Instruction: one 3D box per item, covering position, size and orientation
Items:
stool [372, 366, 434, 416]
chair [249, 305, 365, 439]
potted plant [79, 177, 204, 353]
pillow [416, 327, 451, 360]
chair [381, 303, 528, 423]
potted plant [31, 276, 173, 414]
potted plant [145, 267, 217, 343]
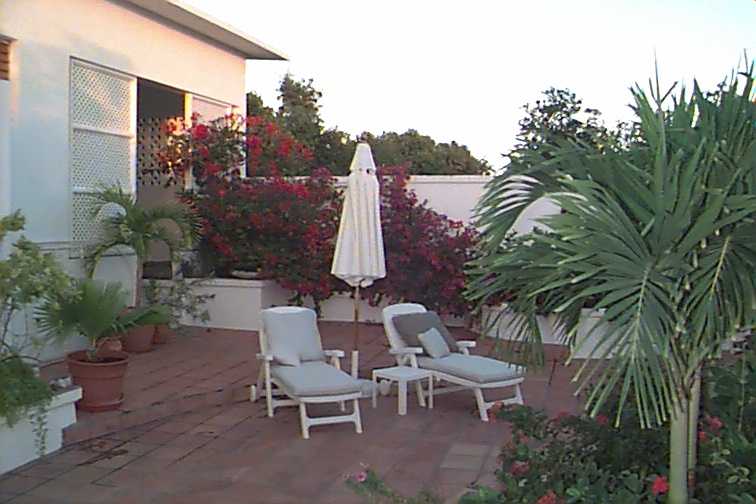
[{"bbox_3d":[0.331,1.691,6.912,0.578,0.476,0.593,0,0,-41],"label":"stool"},{"bbox_3d":[-0.929,1.449,6.716,1.080,1.233,1.673,-3,8,-25],"label":"chair"},{"bbox_3d":[-4.413,-0.370,9.666,1.986,1.717,1.432,3,0,38],"label":"potted plant"},{"bbox_3d":[0.750,1.212,7.203,0.379,0.358,0.116,-15,-26,-47],"label":"pillow"},{"bbox_3d":[0.936,1.368,7.189,1.027,1.244,1.974,-2,0,-35],"label":"chair"},{"bbox_3d":[-3.393,1.014,6.621,1.681,1.477,1.566,0,3,-8],"label":"potted plant"},{"bbox_3d":[-3.884,0.974,10.276,1.414,1.093,1.298,-3,1,-11],"label":"potted plant"}]
